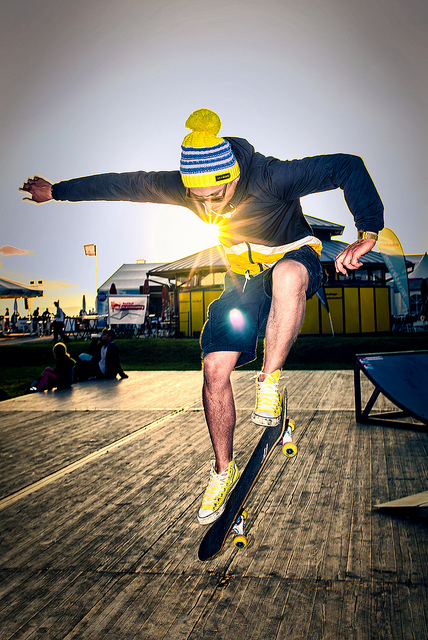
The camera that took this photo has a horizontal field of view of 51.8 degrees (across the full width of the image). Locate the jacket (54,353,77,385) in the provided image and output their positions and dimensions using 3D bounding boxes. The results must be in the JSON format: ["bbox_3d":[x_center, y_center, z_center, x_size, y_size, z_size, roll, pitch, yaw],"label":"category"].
[{"bbox_3d":[-2.991,0.968,8.796,0.241,0.618,0.454,15,-6,-13],"label":"jacket"}]

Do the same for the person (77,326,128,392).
[{"bbox_3d":[-3.146,1.048,12.362,1.426,1.772,0.980,0,4,21],"label":"person"}]

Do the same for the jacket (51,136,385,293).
[{"bbox_3d":[0.007,-0.656,2.593,2.100,0.691,1.047,4,-41,27],"label":"jacket"}]

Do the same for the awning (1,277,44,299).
[{"bbox_3d":[-9.702,-1.564,21.597,1.248,0.859,2.837,-2,-2,0],"label":"awning"}]
